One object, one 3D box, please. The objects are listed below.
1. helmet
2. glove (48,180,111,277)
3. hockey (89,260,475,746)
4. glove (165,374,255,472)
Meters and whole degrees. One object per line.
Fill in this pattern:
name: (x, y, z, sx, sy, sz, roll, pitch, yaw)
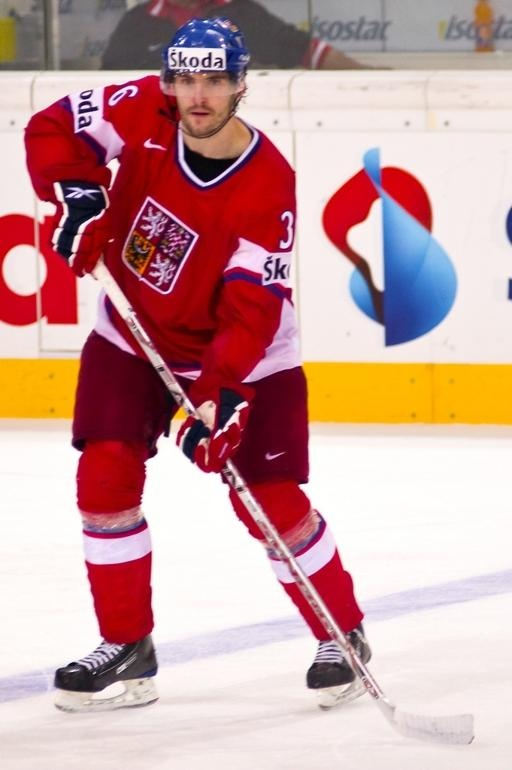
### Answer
helmet: (-0.074, -0.523, 1.475, 0.123, 0.111, 0.146, 4, 23, 12)
glove: (-0.284, -0.259, 1.589, 0.118, 0.148, 0.062, 5, -1, 27)
hockey: (0.089, 0.266, 2.059, 0.205, 1.264, 0.175, -38, -9, -11)
glove: (-0.062, 0.061, 1.401, 0.061, 0.123, 0.133, 14, 9, -31)
